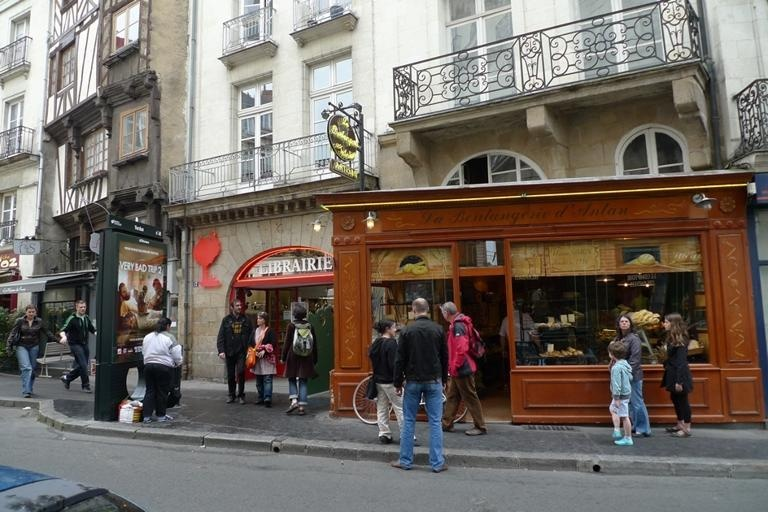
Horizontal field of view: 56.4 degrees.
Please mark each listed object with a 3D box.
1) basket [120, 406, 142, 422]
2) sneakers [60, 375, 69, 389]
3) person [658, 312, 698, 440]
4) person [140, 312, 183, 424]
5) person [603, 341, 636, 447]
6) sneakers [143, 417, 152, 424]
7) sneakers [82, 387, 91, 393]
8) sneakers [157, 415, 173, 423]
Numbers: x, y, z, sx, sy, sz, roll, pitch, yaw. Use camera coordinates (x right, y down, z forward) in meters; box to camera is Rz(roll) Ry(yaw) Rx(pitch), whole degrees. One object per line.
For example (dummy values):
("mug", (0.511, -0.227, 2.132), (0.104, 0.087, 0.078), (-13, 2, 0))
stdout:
("basket", (-5.772, 3.589, 16.237), (0.388, 0.287, 0.388), (0, -17, -4))
("sneakers", (-8.900, 3.523, 19.940), (0.185, 0.427, 0.144), (-6, 21, -1))
("person", (6.206, 2.520, 15.277), (0.594, 2.577, 0.503), (-5, -7, 20))
("person", (-5.112, 2.584, 16.415), (0.822, 2.360, 0.553), (0, -7, -16))
("person", (4.910, 2.820, 14.815), (0.473, 2.101, 0.406), (-1, -7, -12))
("sneakers", (-5.344, 3.701, 16.188), (0.198, 0.121, 0.229), (1, -8, -23))
("sneakers", (-8.090, 3.636, 19.474), (0.355, 0.151, 0.130), (-1, -3, 11))
("sneakers", (-4.994, 3.721, 16.368), (0.127, 0.146, 0.346), (0, -3, 13))
